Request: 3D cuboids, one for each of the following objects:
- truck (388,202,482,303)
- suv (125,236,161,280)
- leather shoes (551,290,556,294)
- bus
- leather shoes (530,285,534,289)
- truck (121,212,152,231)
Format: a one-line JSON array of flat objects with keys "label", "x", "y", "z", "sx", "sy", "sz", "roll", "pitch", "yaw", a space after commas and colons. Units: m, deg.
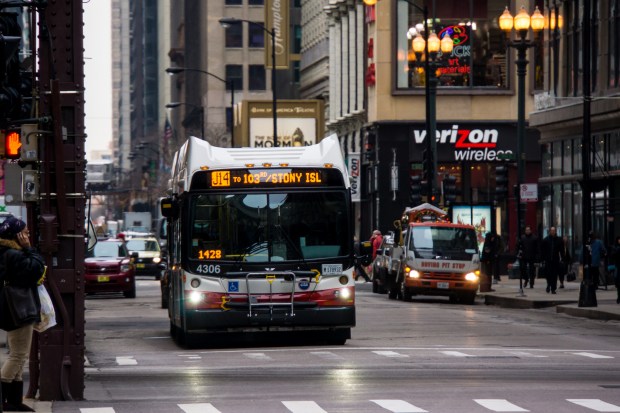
[{"label": "truck", "x": 3.820, "y": 1.819, "z": 38.063, "sx": 2.642, "sy": 2.796, "sz": 5.696, "roll": 3, "pitch": -6, "yaw": 0}, {"label": "suv", "x": -7.717, "y": 2.426, "z": 54.233, "sx": 2.090, "sy": 2.145, "sz": 4.569, "roll": 0, "pitch": -6, "yaw": -5}, {"label": "leather shoes", "x": 7.602, "y": 2.632, "z": 36.684, "sx": 0.159, "sy": 0.152, "sz": 0.083, "roll": 3, "pitch": 1, "yaw": -1}, {"label": "bus", "x": -1.203, "y": 0.768, "z": 27.042, "sx": 4.205, "sy": 4.141, "sz": 8.442, "roll": -1, "pitch": -2, "yaw": -7}, {"label": "leather shoes", "x": 7.549, "y": 2.704, "z": 39.980, "sx": 0.090, "sy": 0.092, "sz": 0.165, "roll": -2, "pitch": -1, "yaw": 5}, {"label": "truck", "x": -15.489, "y": 1.202, "z": 107.459, "sx": 2.097, "sy": 2.247, "sz": 3.941, "roll": 0, "pitch": -3, "yaw": -9}]
